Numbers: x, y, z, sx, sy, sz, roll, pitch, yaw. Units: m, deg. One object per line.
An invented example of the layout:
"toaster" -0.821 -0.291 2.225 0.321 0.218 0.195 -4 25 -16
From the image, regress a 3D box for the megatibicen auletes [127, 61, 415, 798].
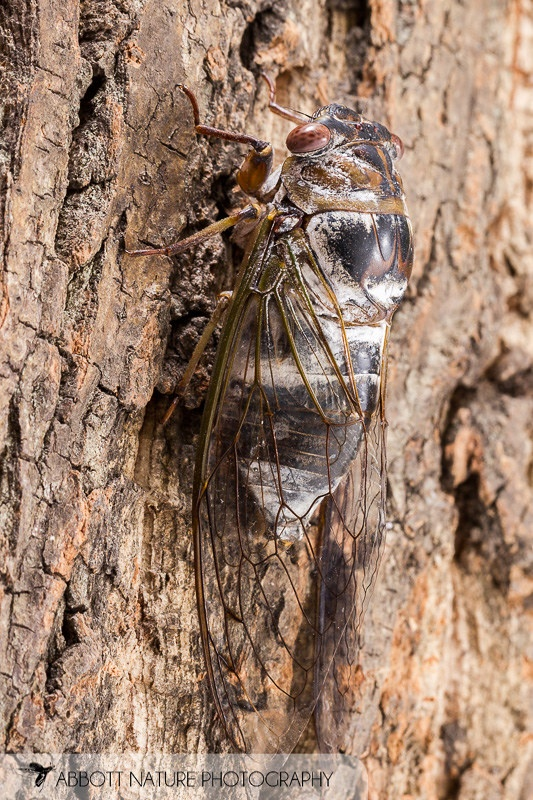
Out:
"megatibicen auletes" -0.001 0.062 2.355 0.257 1.068 0.375 4 3 44
